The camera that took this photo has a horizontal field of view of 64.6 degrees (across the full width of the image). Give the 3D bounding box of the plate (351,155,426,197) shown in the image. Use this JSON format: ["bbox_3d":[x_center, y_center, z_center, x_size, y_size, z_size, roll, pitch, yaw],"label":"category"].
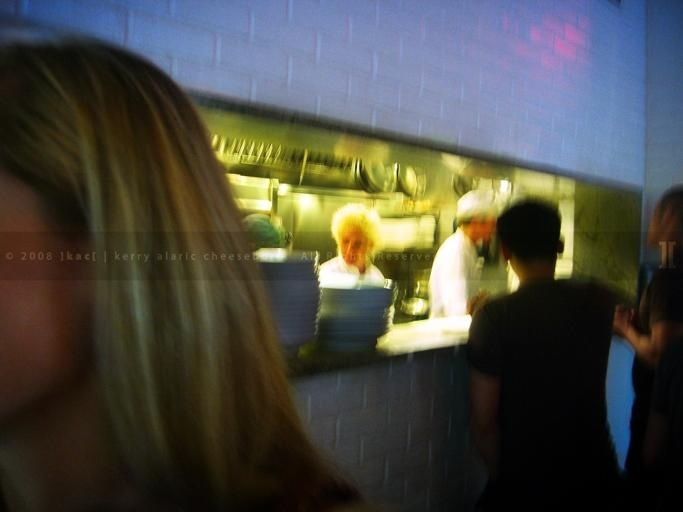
[{"bbox_3d":[0.082,-0.127,0.859,0.088,0.073,0.037,3,-7,-17],"label":"plate"}]

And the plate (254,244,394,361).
[{"bbox_3d":[-0.023,0.066,0.827,0.125,0.163,0.127,0,2,19],"label":"plate"}]
